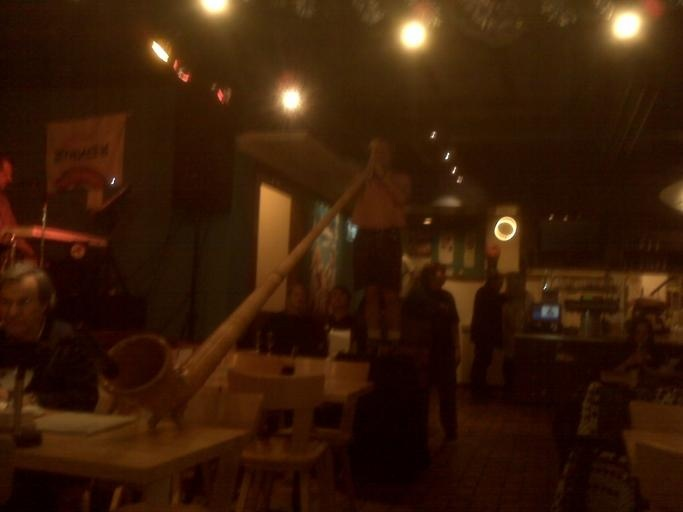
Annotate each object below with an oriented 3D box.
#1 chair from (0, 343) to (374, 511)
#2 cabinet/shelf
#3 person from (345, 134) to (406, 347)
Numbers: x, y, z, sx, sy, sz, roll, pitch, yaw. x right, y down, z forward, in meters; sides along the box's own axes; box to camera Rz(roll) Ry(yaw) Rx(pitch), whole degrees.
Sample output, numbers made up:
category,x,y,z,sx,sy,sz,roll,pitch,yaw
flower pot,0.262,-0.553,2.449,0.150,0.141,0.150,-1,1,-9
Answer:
category,x,y,z,sx,sy,sz,roll,pitch,yaw
chair,-0.489,0.669,2.405,0.922,0.570,1.382,3,-4,23
cabinet/shelf,0.855,0.425,2.362,0.437,0.277,0.133,5,-4,-8
person,0.155,-0.072,2.588,0.225,0.829,0.089,3,-3,0
